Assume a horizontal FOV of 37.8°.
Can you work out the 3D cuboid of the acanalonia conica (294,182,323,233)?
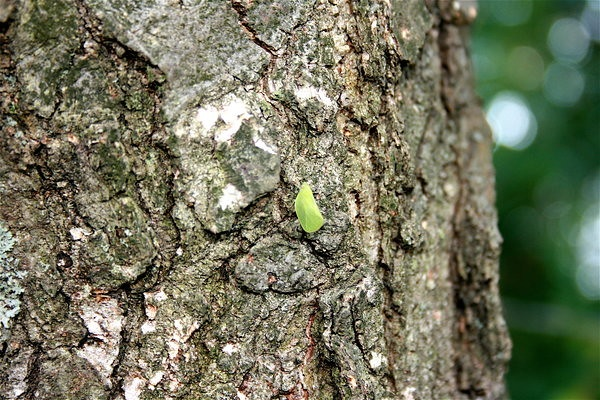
[{"bbox_3d":[0.038,0.073,3.433,0.153,0.069,0.280,35,-15,14],"label":"acanalonia conica"}]
